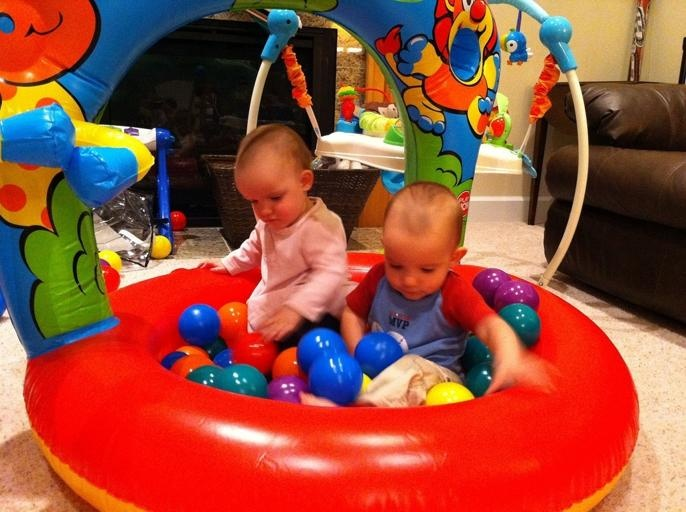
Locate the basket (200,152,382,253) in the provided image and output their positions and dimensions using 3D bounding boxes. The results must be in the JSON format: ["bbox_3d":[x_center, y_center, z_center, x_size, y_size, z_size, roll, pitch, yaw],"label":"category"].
[{"bbox_3d":[-0.195,-0.204,1.890,0.540,0.333,0.731,-1,5,-10],"label":"basket"}]

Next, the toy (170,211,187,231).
[{"bbox_3d":[-0.915,-0.189,2.795,0.087,0.103,0.087,17,30,5],"label":"toy"}]
